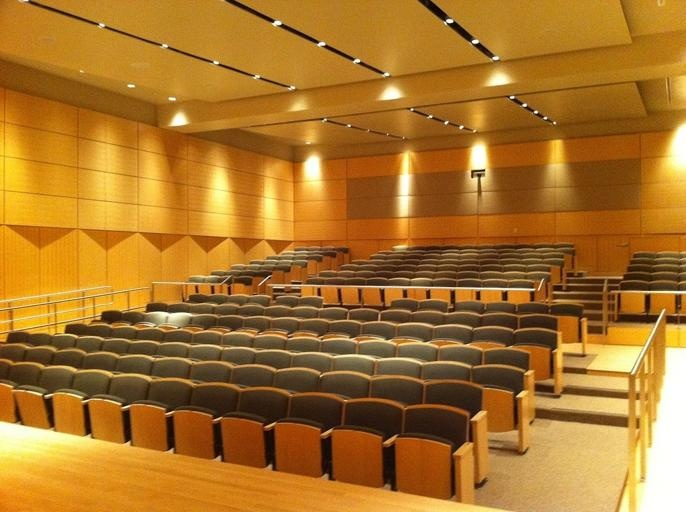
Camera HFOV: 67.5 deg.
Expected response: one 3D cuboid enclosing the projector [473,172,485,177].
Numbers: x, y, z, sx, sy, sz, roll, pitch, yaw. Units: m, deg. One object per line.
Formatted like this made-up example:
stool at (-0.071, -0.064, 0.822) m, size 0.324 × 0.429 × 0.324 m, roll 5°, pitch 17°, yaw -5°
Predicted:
projector at (3.980, -2.386, 15.058) m, size 0.347 × 0.168 × 0.169 m, roll -1°, pitch -4°, yaw 27°
